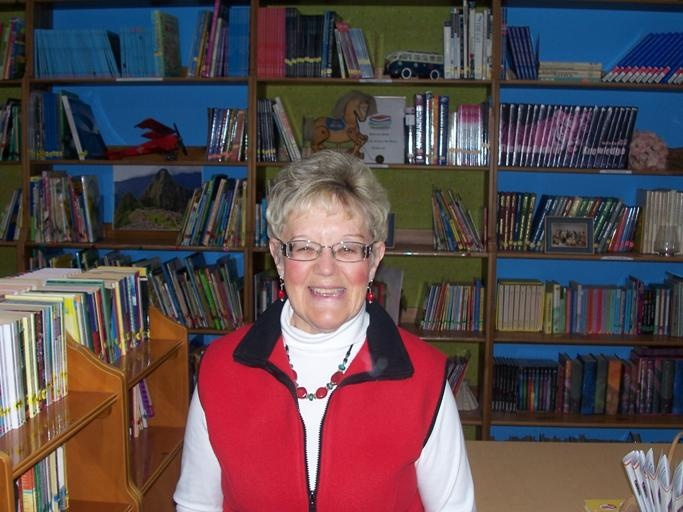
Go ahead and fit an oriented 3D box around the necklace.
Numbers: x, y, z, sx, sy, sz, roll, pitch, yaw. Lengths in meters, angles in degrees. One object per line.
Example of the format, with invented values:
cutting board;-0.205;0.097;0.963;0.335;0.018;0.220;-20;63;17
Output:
necklace;-0.084;0.405;2.173;0.225;0.047;0.231;-8;20;1
